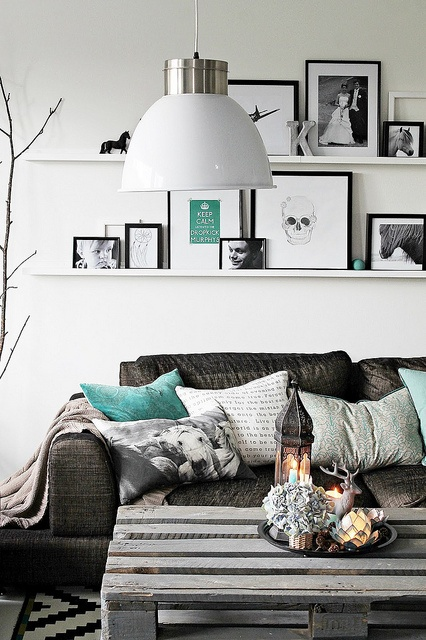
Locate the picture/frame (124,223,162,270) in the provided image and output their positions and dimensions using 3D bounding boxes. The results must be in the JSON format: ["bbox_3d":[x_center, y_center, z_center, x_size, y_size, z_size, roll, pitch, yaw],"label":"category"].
[{"bbox_3d":[-0.350,-0.365,3.048,0.186,0.285,0.025,-2,36,-11],"label":"picture/frame"}]

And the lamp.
[{"bbox_3d":[-0.023,-0.405,1.189,0.237,0.388,0.262,-1,-1,-3],"label":"lamp"}]

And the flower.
[{"bbox_3d":[0.187,0.399,1.366,0.131,0.157,0.092,-14,-23,8],"label":"flower"}]

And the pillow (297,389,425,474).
[{"bbox_3d":[0.605,0.454,2.398,0.390,0.343,0.128,-2,-27,-16],"label":"pillow"}]

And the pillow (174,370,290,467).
[{"bbox_3d":[0.131,0.405,2.439,0.361,0.367,0.149,9,-31,-21],"label":"pillow"}]

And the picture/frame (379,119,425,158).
[{"bbox_3d":[0.941,-0.905,3.033,0.166,0.182,0.013,0,3,-4],"label":"picture/frame"}]

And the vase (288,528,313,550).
[{"bbox_3d":[0.203,0.512,1.386,0.043,0.041,0.049,0,-2,20],"label":"vase"}]
